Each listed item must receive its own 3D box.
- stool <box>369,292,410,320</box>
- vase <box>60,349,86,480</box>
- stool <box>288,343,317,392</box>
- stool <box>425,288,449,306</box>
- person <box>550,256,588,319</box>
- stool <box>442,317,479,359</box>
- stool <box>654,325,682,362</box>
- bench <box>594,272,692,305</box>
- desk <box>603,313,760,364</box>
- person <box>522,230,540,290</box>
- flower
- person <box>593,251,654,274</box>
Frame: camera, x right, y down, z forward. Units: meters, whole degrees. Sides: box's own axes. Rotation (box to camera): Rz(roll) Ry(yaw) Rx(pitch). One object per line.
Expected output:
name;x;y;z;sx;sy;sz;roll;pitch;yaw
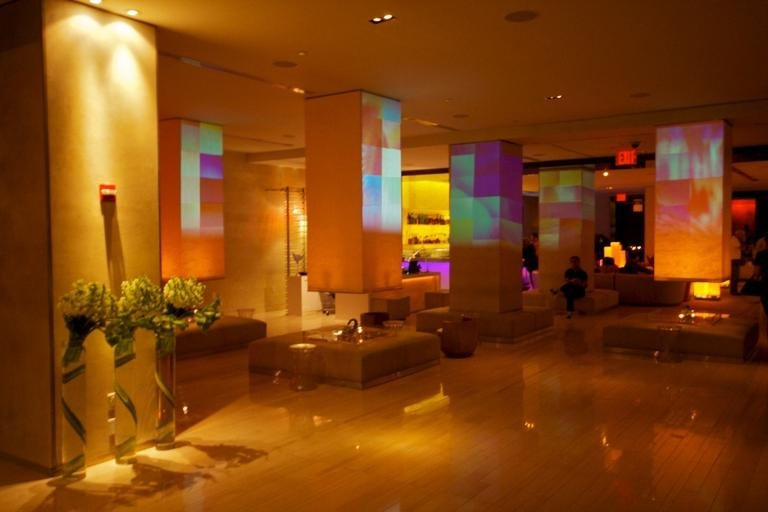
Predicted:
stool;0.133;1.139;13.554;0.619;0.727;1.145;1;1;34
vase;-2.954;1.494;5.496;0.247;1.227;0.144;-4;8;-30
stool;-1.117;1.531;7.991;0.306;0.607;0.237;-1;7;-7
stool;1.372;1.044;14.457;0.432;0.263;0.437;0;2;29
person;4.625;0.708;14.320;0.730;1.374;1.488;2;7;18
stool;1.255;1.353;9.644;0.622;0.600;0.653;-1;-3;21
stool;4.590;1.430;9.332;0.352;0.496;0.254;2;7;22
bench;7.059;0.928;15.849;2.203;0.812;1.106;2;7;21
desk;4.997;1.342;9.807;2.369;0.535;1.216;2;7;20
person;4.512;0.147;17.878;0.401;1.627;1.050;1;7;13
flower;-2.534;0.311;5.745;1.332;0.830;0.970;-3;7;-42
person;7.364;0.345;17.983;1.507;0.470;1.189;-1;0;29
